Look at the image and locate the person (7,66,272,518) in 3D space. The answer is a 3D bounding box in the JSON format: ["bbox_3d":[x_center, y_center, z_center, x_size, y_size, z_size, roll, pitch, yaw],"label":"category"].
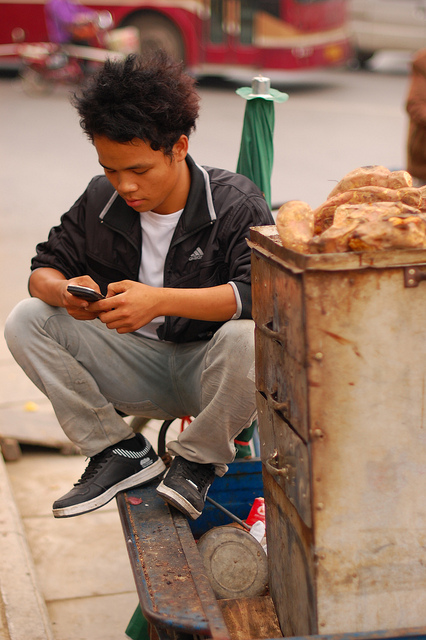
[{"bbox_3d":[-0.214,-0.101,1.958,0.755,1.170,0.769,14,5,-12],"label":"person"}]
